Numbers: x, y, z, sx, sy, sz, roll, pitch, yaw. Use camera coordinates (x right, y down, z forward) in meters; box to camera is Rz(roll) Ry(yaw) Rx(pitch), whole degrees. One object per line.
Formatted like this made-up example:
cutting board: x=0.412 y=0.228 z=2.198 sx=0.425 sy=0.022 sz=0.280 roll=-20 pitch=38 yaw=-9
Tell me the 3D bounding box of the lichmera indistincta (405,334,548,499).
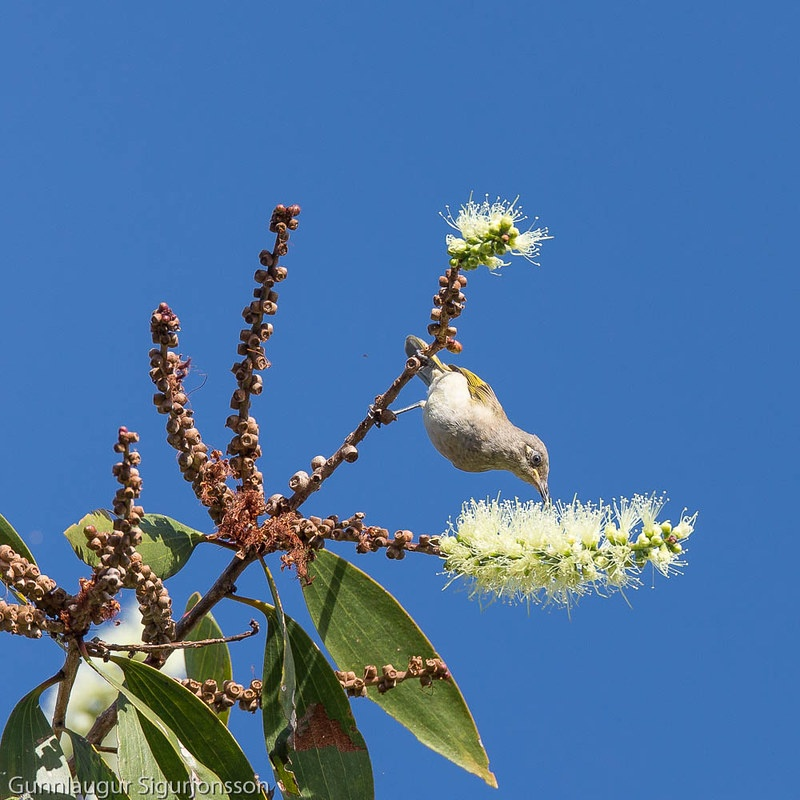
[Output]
lichmera indistincta: x=0.226 y=0.057 z=5.515 sx=0.414 sy=0.719 sz=0.290 roll=-15 pitch=-42 yaw=5
